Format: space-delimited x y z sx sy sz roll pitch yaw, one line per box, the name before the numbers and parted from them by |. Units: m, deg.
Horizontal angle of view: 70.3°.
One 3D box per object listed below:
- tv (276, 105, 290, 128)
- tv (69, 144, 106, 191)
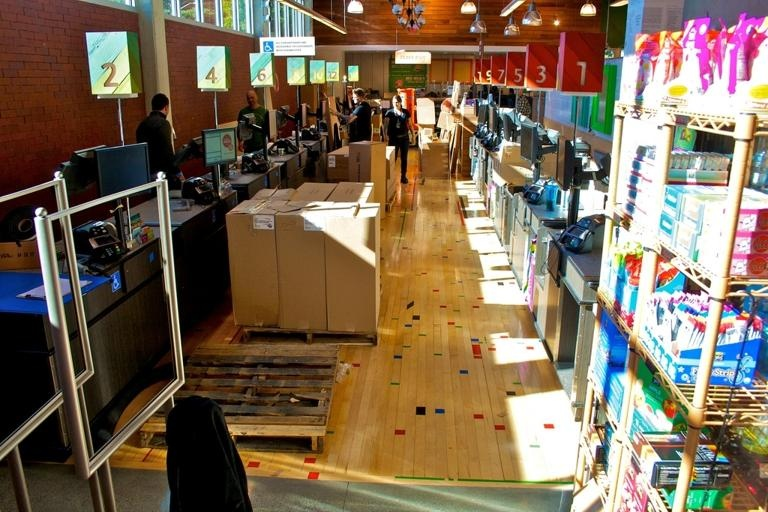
tv | -2.075 -2.814 11.096 0.250 0.413 0.889 -3 15 -11
tv | -2.641 -0.779 4.891 0.271 0.368 0.318 -1 15 -3
